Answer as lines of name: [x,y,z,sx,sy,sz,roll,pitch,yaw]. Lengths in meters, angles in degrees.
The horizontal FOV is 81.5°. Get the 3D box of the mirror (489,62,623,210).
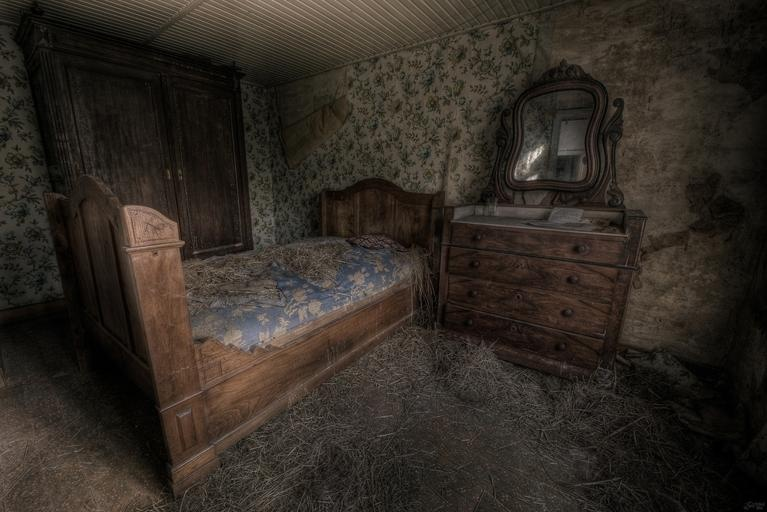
mirror: [1.426,-0.984,3.592,1.199,1.265,0.080,7,12,27]

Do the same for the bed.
bed: [-0.866,0.089,4.041,1.930,1.840,3.045,20,28,34]

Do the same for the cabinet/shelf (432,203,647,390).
cabinet/shelf: [1.281,0.339,3.507,1.264,1.184,0.633,9,16,28]

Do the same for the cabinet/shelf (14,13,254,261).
cabinet/shelf: [-2.254,-1.103,3.882,0.576,1.961,1.558,11,19,28]
